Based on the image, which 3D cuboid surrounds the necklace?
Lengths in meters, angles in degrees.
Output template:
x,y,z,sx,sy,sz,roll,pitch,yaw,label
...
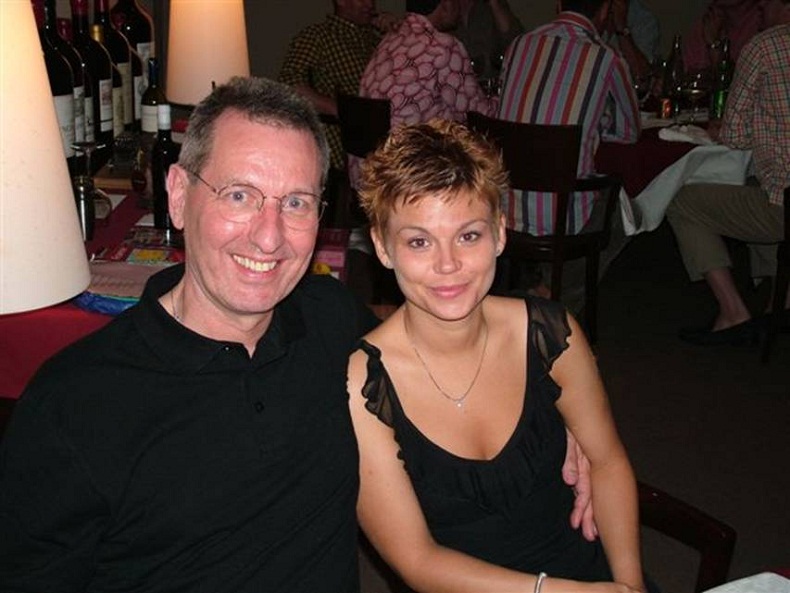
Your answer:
x,y,z,sx,sy,sz,roll,pitch,yaw,label
0.128,0.123,1.637,0.153,0.265,0.039,-10,6,-7,necklace
